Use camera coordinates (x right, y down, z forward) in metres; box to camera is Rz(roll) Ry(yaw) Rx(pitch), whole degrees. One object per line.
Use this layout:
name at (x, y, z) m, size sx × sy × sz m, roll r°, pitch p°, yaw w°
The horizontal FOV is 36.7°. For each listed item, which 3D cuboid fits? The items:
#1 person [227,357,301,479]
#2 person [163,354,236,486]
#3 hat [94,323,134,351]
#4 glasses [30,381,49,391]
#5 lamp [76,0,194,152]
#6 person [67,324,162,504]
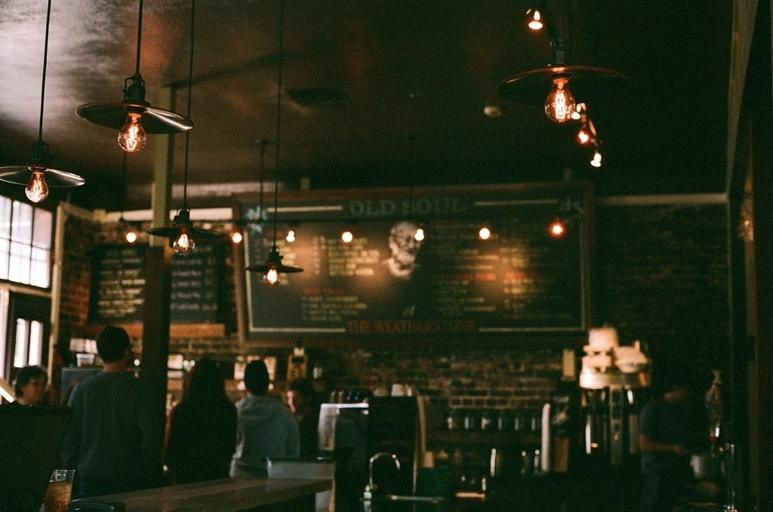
person at (-0.969, 1.323, 9.372) m, size 0.534 × 0.913 × 0.282 m, roll 0°, pitch -9°, yaw -3°
person at (-1.479, 1.348, 9.371) m, size 0.559 × 0.999 × 0.232 m, roll 1°, pitch -10°, yaw -8°
hat at (-2.075, 0.651, 8.974) m, size 0.243 × 0.137 × 0.232 m, roll 1°, pitch 1°, yaw 4°
glasses at (-3.111, 1.190, 10.403) m, size 0.114 × 0.079 × 0.101 m, roll 7°, pitch -30°, yaw -17°
lamp at (-1.729, -1.032, 8.042) m, size 0.787 × 0.566 × 0.333 m, roll 1°, pitch -9°, yaw -9°
person at (-2.070, 1.203, 8.866) m, size 0.738 × 1.283 × 0.290 m, roll 2°, pitch -10°, yaw -13°
